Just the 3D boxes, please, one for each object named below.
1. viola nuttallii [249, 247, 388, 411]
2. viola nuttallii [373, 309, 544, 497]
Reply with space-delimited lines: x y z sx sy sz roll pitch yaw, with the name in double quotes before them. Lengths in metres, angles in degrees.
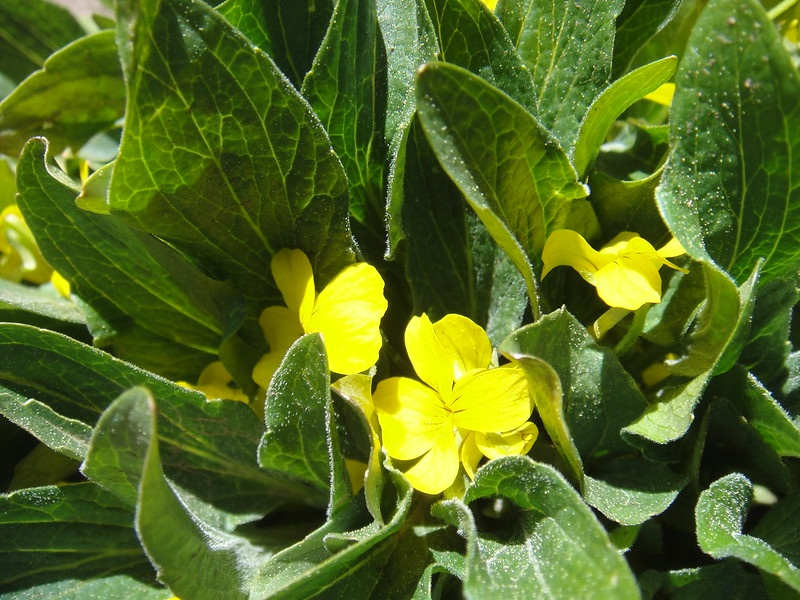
"viola nuttallii" -0.085 0.021 0.872 0.136 0.053 0.174 -1 51 -14
"viola nuttallii" 0.047 0.096 0.848 0.156 0.122 0.128 -25 45 -5
